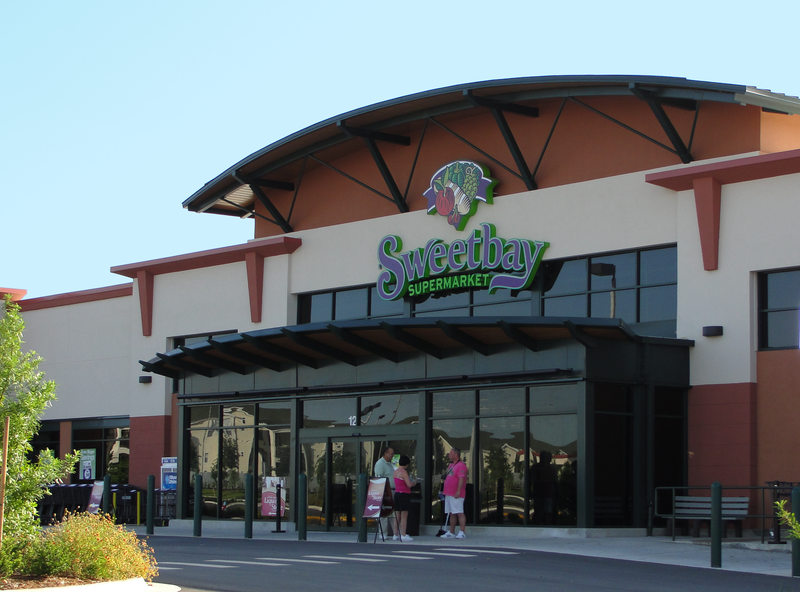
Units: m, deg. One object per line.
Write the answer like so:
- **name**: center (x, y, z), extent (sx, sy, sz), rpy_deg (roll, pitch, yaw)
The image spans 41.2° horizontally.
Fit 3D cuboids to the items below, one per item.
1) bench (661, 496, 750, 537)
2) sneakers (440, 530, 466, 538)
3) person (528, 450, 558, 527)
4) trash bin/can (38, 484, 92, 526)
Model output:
- **bench**: center (6.814, 4.954, 23.834), extent (1.813, 0.826, 0.634), rpy_deg (-9, -5, 42)
- **sneakers**: center (1.283, 5.764, 25.721), extent (0.582, 0.235, 0.265), rpy_deg (2, -10, 5)
- **person**: center (3.637, 4.889, 26.985), extent (0.752, 2.360, 0.659), rpy_deg (-1, 20, 3)
- **trash bin/can**: center (-10.419, 6.373, 32.994), extent (1.506, 1.402, 3.120), rpy_deg (4, -15, -18)
